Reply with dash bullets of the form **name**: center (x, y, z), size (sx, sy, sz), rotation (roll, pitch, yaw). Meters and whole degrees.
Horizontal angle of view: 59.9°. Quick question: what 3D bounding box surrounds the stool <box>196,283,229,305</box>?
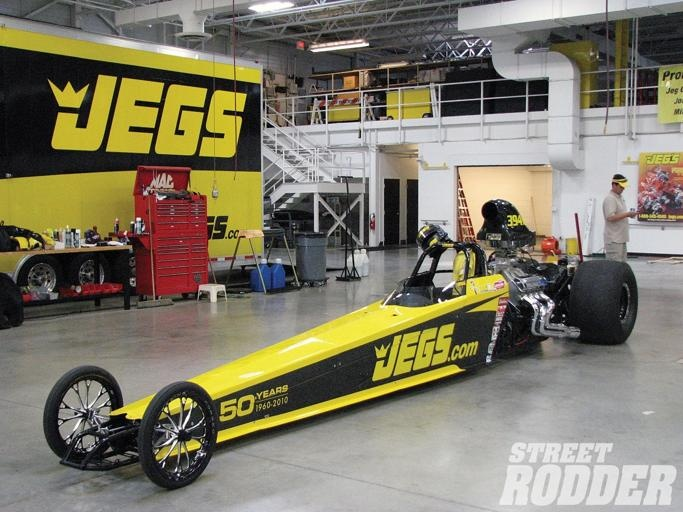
- **stool**: center (-2.205, 0.654, 10.285), size (0.364, 0.224, 0.368), rotation (-1, -2, 43)

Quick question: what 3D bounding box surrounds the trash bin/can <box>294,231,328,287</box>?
- **trash bin/can**: center (-0.572, 0.044, 11.835), size (0.558, 1.035, 0.611), rotation (8, 6, 43)

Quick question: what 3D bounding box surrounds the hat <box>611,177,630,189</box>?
- **hat**: center (4.168, -1.103, 8.857), size (0.263, 0.126, 0.201), rotation (1, 14, 31)

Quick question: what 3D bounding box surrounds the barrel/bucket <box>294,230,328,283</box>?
- **barrel/bucket**: center (-0.580, 0.012, 11.787), size (0.595, 0.989, 0.546), rotation (4, 5, 0)

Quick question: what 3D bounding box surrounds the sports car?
- **sports car**: center (0.901, 0.474, 5.856), size (6.918, 1.803, 2.232), rotation (-7, 7, -43)
